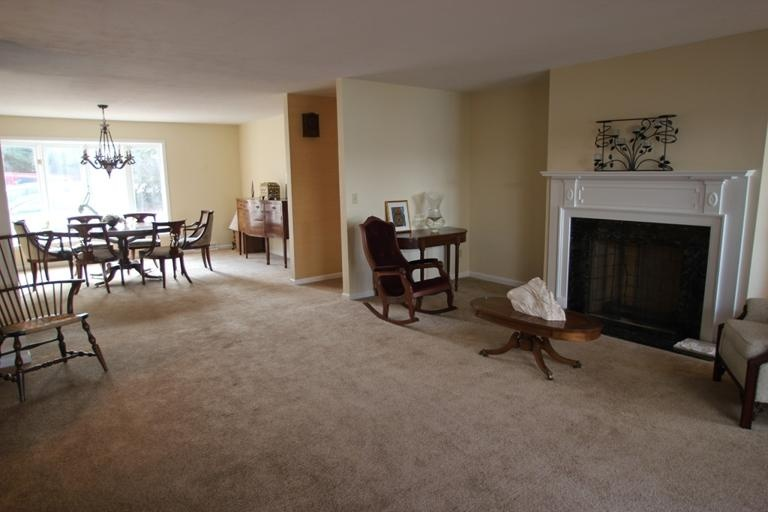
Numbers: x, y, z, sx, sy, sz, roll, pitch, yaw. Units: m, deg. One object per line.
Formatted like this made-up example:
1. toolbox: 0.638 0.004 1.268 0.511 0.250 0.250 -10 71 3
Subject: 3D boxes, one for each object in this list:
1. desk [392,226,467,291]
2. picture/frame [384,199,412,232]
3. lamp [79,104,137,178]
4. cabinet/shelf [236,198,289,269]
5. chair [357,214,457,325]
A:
1. desk: 0.550 0.027 6.436 0.333 0.622 0.845 7 12 42
2. picture/frame: 0.162 -0.537 6.708 0.034 0.471 0.464 -4 3 43
3. lamp: -4.855 -1.928 8.745 0.734 1.112 1.893 -6 11 -29
4. cabinet/shelf: -2.202 -0.456 8.936 0.505 1.155 2.442 -5 11 -24
5. chair: 0.221 0.138 5.996 0.799 1.171 1.062 -10 14 -43
